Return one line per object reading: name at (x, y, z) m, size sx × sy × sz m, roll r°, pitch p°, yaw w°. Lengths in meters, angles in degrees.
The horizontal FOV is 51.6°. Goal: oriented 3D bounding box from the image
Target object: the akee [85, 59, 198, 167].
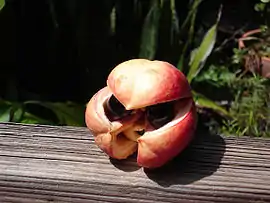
akee at (0.025, 0.023, 0.794) m, size 0.276 × 0.237 × 0.286 m, roll 16°, pitch 41°, yaw 32°
